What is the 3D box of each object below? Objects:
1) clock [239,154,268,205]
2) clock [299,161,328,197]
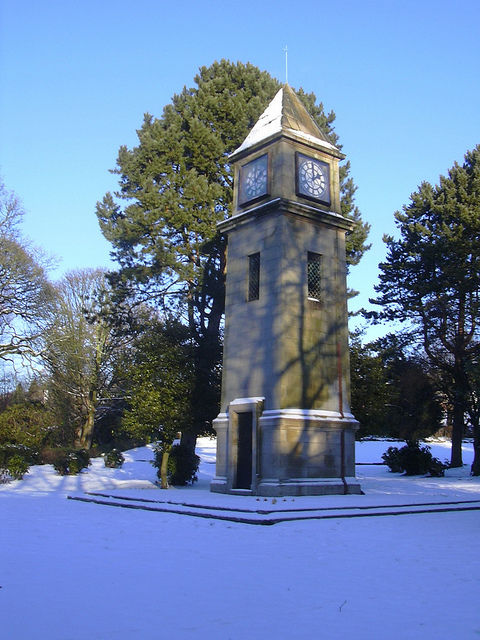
[{"bbox_3d":[0.490,-4.907,23.149,0.125,2.088,2.252,5,-9,-32],"label":"clock"},{"bbox_3d":[2.457,-4.840,22.754,0.117,1.442,1.616,-11,-4,43],"label":"clock"}]
